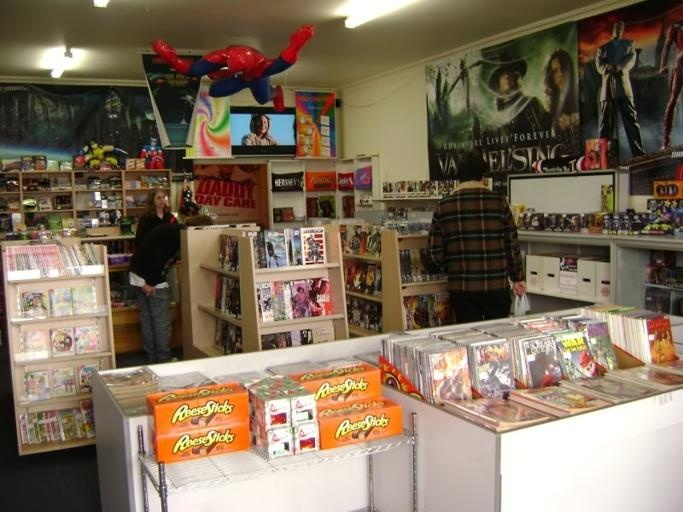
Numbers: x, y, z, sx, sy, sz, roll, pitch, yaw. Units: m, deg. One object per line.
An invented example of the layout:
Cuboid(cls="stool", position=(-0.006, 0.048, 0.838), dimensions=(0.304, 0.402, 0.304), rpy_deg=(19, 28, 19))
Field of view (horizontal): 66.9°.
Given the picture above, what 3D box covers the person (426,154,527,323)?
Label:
Cuboid(cls="person", position=(1.211, -0.156, 4.641), dimensions=(0.860, 1.513, 0.339), rpy_deg=(2, 9, 18))
